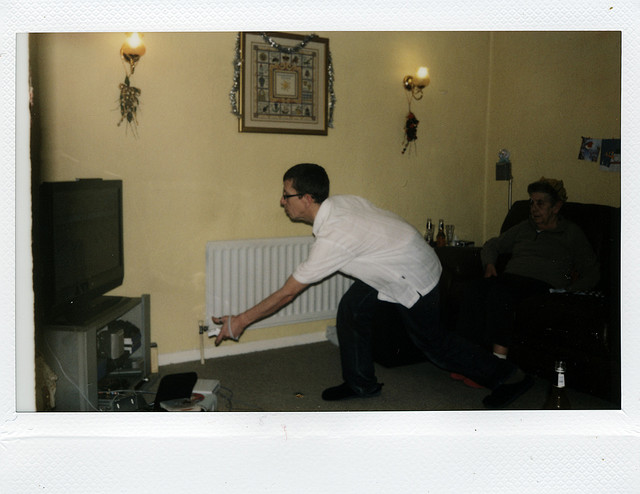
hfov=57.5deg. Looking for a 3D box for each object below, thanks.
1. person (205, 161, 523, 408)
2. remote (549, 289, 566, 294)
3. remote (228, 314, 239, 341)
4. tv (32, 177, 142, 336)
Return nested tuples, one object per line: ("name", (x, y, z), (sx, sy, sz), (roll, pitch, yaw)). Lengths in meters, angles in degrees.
("person", (0.285, 0.217, 3.219), (1.469, 1.367, 1.130), (-2, 12, 9))
("remote", (1.285, 0.240, 3.151), (0.078, 0.013, 0.165), (3, 5, 19))
("remote", (-0.400, 0.381, 2.666), (0.022, 0.094, 0.068), (-2, 4, 5))
("tv", (-1.195, 0.011, 2.934), (0.324, 0.695, 0.757), (1, 8, 4))
